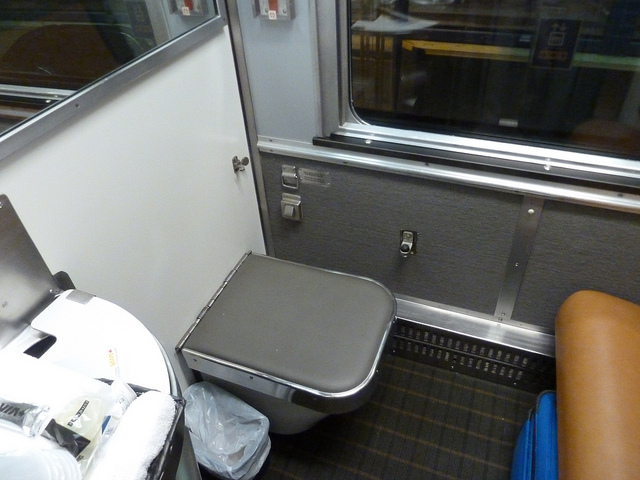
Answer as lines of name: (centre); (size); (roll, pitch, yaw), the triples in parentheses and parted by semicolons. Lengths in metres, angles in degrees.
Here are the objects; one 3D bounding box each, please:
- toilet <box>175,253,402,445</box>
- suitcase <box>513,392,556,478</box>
toilet: (-0.095, 0.408, 1.703); (0.628, 0.515, 0.543); (16, 47, 17)
suitcase: (0.695, 0.608, 1.468); (0.051, 0.226, 0.227); (8, 85, 3)
